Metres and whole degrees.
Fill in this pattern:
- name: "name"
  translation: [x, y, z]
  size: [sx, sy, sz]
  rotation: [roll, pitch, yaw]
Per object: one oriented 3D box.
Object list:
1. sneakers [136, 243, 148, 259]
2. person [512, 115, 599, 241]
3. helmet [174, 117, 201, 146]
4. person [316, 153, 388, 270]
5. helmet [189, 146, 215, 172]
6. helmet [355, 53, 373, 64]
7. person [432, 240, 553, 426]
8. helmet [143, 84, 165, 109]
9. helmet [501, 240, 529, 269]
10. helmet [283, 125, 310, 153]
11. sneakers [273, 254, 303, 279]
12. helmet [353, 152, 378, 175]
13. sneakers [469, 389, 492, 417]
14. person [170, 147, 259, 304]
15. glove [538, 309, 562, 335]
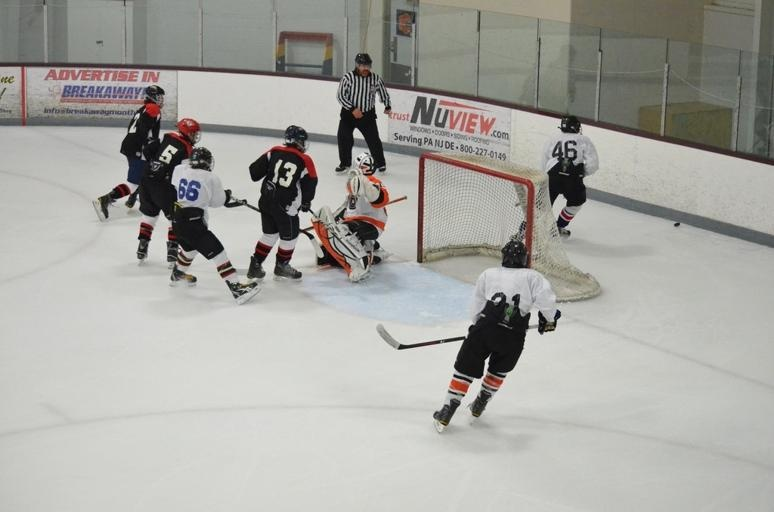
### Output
- name: "sneakers"
  translation: [-2.573, -0.048, 7.940]
  size: [0.118, 0.166, 0.091]
  rotation: [12, 26, -11]
- name: "person"
  translation: [2.005, -0.919, 8.790]
  size: [0.776, 1.486, 0.467]
  rotation: [5, 29, 8]
- name: "helmet"
  translation: [-2.012, -1.292, 7.838]
  size: [0.344, 0.329, 0.263]
  rotation: [0, 28, -11]
- name: "person"
  translation: [-0.339, -0.439, 7.814]
  size: [0.676, 1.257, 0.556]
  rotation: [4, 14, -3]
- name: "helmet"
  translation: [-1.760, -0.946, 7.113]
  size: [0.234, 0.236, 0.194]
  rotation: [-12, 37, -23]
- name: "helmet"
  translation: [-0.339, -2.777, 10.595]
  size: [0.167, 0.138, 0.181]
  rotation: [-6, 17, -35]
- name: "person"
  translation: [0.813, 0.587, 5.563]
  size: [0.838, 1.435, 0.557]
  rotation: [2, 17, -20]
- name: "helmet"
  translation: [-2.763, -1.911, 8.982]
  size: [0.190, 0.233, 0.325]
  rotation: [1, 14, -14]
- name: "helmet"
  translation: [0.929, -0.015, 5.498]
  size: [0.181, 0.187, 0.197]
  rotation: [-3, 12, -19]
- name: "helmet"
  translation: [-0.903, -1.180, 7.577]
  size: [0.298, 0.294, 0.252]
  rotation: [-10, 20, -43]
- name: "sneakers"
  translation: [-0.984, 0.115, 7.750]
  size: [0.390, 0.259, 0.132]
  rotation: [3, 20, -9]
- name: "helmet"
  translation: [-0.238, -0.942, 7.727]
  size: [0.161, 0.227, 0.397]
  rotation: [9, 15, 19]
- name: "sneakers"
  translation: [0.703, 1.113, 5.643]
  size: [0.074, 0.214, 0.223]
  rotation: [31, 28, 6]
- name: "person"
  translation: [-1.689, -0.323, 7.232]
  size: [1.019, 1.424, 0.550]
  rotation: [12, 16, 26]
- name: "glove"
  translation: [1.185, 0.478, 5.593]
  size: [0.157, 0.150, 0.199]
  rotation: [-18, 23, -28]
